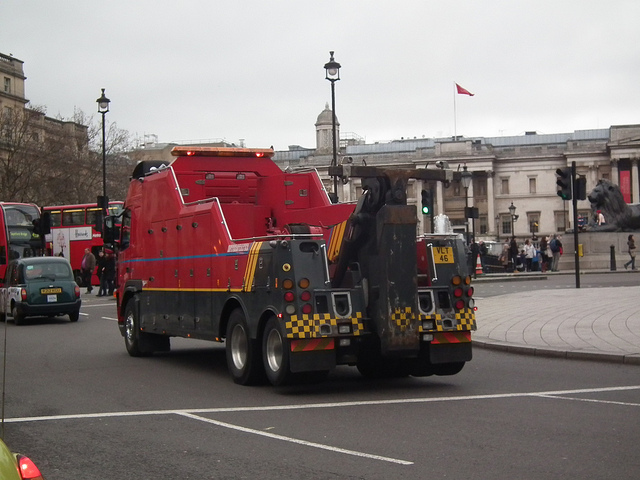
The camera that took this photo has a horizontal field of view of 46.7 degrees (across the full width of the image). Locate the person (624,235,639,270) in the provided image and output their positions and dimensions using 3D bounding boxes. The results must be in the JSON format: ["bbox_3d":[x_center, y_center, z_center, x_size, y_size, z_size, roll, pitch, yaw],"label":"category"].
[{"bbox_3d":[16.416,0.686,39.314,0.636,1.787,1.887,0,0,24],"label":"person"}]

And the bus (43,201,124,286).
[{"bbox_3d":[-15.188,0.083,46.368,6.273,4.119,2.435,0,6,25],"label":"bus"}]

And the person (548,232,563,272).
[{"bbox_3d":[12.781,0.753,40.411,0.623,2.000,1.544,0,0,18],"label":"person"}]

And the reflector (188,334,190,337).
[{"bbox_3d":[-2.232,1.666,12.759,0.027,0.038,0.029,3,4,32],"label":"reflector"}]

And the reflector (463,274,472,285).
[{"bbox_3d":[2.199,0.609,11.119,0.074,0.160,0.142,4,-11,41],"label":"reflector"}]

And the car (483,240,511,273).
[{"bbox_3d":[12.823,1.336,52.335,1.262,2.212,2.087,-4,3,13],"label":"car"}]

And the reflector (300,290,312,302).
[{"bbox_3d":[-0.188,0.794,10.359,0.174,0.157,0.038,-1,1,-31],"label":"reflector"}]

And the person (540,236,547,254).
[{"bbox_3d":[12.924,0.429,43.012,0.350,0.875,1.113,0,0,26],"label":"person"}]

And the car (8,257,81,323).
[{"bbox_3d":[-8.485,1.473,22.919,1.301,1.417,2.692,0,0,-22],"label":"car"}]

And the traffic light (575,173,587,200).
[{"bbox_3d":[8.147,-1.600,23.232,0.269,0.743,1.231,0,0,23],"label":"traffic light"}]

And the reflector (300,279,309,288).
[{"bbox_3d":[-0.211,0.624,10.372,0.136,0.114,0.030,-1,1,-29],"label":"reflector"}]

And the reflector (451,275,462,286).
[{"bbox_3d":[2.027,0.616,11.049,0.125,0.159,0.032,5,-5,-13],"label":"reflector"}]

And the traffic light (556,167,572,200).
[{"bbox_3d":[7.462,-1.717,22.747,0.458,0.988,0.932,0,0,19],"label":"traffic light"}]

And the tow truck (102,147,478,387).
[{"bbox_3d":[-0.614,0.478,12.671,3.338,3.454,6.158,3,-1,-34],"label":"tow truck"}]
